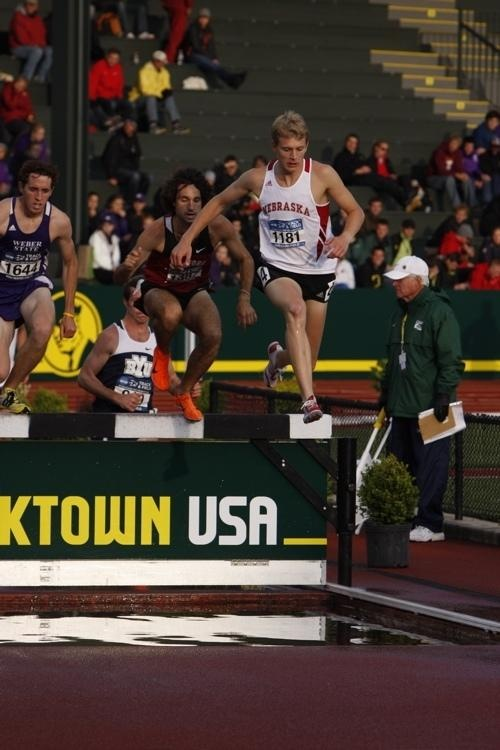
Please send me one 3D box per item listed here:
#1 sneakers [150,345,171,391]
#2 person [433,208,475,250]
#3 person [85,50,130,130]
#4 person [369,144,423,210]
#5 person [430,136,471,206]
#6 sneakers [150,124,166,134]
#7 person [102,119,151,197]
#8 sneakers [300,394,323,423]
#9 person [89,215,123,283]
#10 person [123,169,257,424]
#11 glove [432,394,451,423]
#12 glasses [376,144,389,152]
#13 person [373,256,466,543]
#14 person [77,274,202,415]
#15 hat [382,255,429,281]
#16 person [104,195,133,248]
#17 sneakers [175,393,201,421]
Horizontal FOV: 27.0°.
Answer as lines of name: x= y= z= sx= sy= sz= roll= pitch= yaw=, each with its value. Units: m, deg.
sneakers: x=-0.466 y=-0.041 z=5.663 sx=0.088 sy=0.241 sz=0.109 roll=-5 pitch=-8 yaw=-28
person: x=3.909 y=-2.729 z=20.066 sx=0.707 sy=0.964 sz=0.811 roll=0 pitch=-3 yaw=11
person: x=-2.866 y=-5.605 z=20.777 sx=0.760 sy=1.378 sz=1.464 roll=1 pitch=-3 yaw=-6
person: x=3.120 y=-4.134 z=22.107 sx=0.798 sy=1.246 sz=1.955 roll=-1 pitch=-3 yaw=25
person: x=4.238 y=-4.279 z=22.186 sx=0.933 sy=1.282 sz=0.935 roll=-1 pitch=-3 yaw=32
sneakers: x=-2.060 y=-5.406 z=22.858 sx=0.388 sy=0.135 sz=0.264 roll=13 pitch=-36 yaw=37
person: x=-2.449 y=-4.132 z=20.703 sx=1.067 sy=1.786 sz=0.830 roll=15 pitch=11 yaw=43
sneakers: x=0.324 y=0.182 z=5.465 sx=0.069 sy=0.086 sz=0.184 roll=-17 pitch=-10 yaw=-4
person: x=-2.436 y=-2.111 z=17.159 sx=0.516 sy=1.186 sz=0.598 roll=1 pitch=-3 yaw=-8
person: x=-0.404 y=-0.445 z=5.690 sx=0.770 sy=1.389 sz=0.935 roll=0 pitch=-3 yaw=7
glove: x=1.397 y=0.232 z=7.568 sx=0.115 sy=0.204 sz=0.195 roll=0 pitch=-3 yaw=12
glasses: x=2.735 y=-4.681 z=21.433 sx=0.175 sy=0.194 sz=0.356 roll=0 pitch=-3 yaw=21
person: x=1.307 y=0.186 z=7.917 sx=0.618 sy=2.199 sz=0.835 roll=0 pitch=-3 yaw=7
person: x=-0.814 y=0.028 z=7.407 sx=0.759 sy=1.299 sz=0.668 roll=0 pitch=-1 yaw=-33
hat: x=1.205 y=-0.820 z=8.027 sx=0.289 sy=0.155 sz=0.199 roll=5 pitch=2 yaw=0
person: x=-2.246 y=-2.667 z=17.585 sx=0.346 sy=0.982 sz=0.312 roll=-7 pitch=-11 yaw=-8
sneakers: x=-0.336 y=0.141 z=5.578 sx=0.081 sy=0.197 sz=0.084 roll=-28 pitch=-24 yaw=-16
